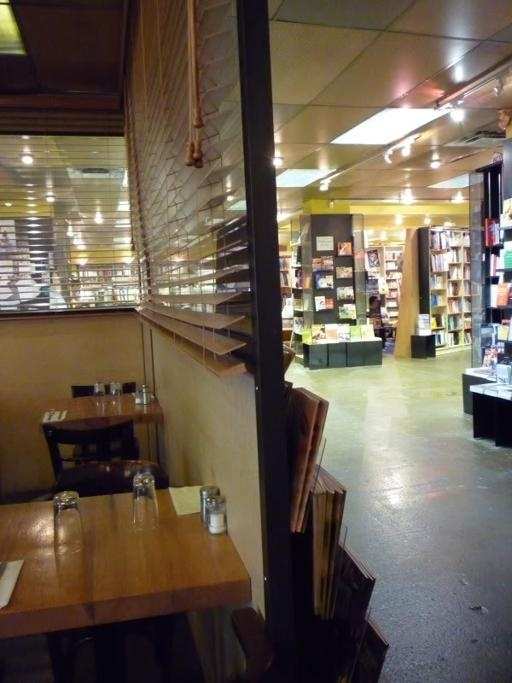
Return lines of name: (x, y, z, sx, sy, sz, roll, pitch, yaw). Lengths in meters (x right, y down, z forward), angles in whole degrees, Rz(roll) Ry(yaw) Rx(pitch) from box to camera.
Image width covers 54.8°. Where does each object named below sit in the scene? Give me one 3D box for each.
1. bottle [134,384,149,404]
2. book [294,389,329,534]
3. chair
bottle: (-0.796, 0.376, 3.484, 0.124, 0.151, 0.090, -2, 10, -11)
book: (0.086, 0.219, 0.872, 0.050, 0.251, 0.129, -3, 5, -11)
chair: (-0.689, 0.961, 2.805, 1.084, 0.957, 0.670, -3, 7, -21)
